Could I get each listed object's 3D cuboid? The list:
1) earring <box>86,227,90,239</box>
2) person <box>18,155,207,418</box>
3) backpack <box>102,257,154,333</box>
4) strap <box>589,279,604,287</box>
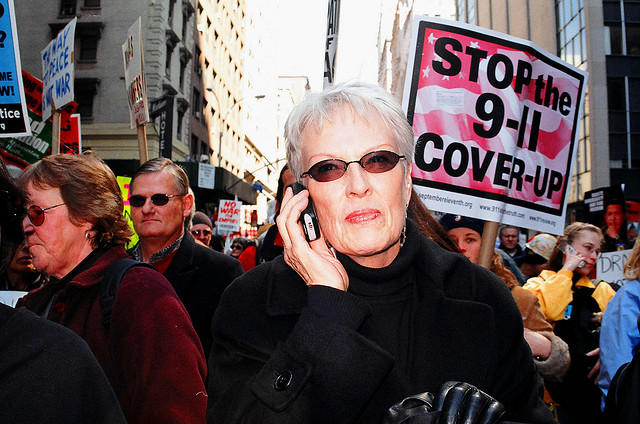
[{"bbox_3d":[-1.704,0.144,4.113,0.051,0.082,0.020,-1,-4,1],"label":"earring"},{"bbox_3d":[-1.427,0.507,3.908,0.777,1.602,1.377,1,-21,-45],"label":"person"},{"bbox_3d":[-1.380,0.534,3.844,0.268,0.429,0.399,-11,-21,21],"label":"backpack"},{"bbox_3d":[3.591,0.916,7.300,0.138,0.038,0.147,0,0,16],"label":"strap"}]
